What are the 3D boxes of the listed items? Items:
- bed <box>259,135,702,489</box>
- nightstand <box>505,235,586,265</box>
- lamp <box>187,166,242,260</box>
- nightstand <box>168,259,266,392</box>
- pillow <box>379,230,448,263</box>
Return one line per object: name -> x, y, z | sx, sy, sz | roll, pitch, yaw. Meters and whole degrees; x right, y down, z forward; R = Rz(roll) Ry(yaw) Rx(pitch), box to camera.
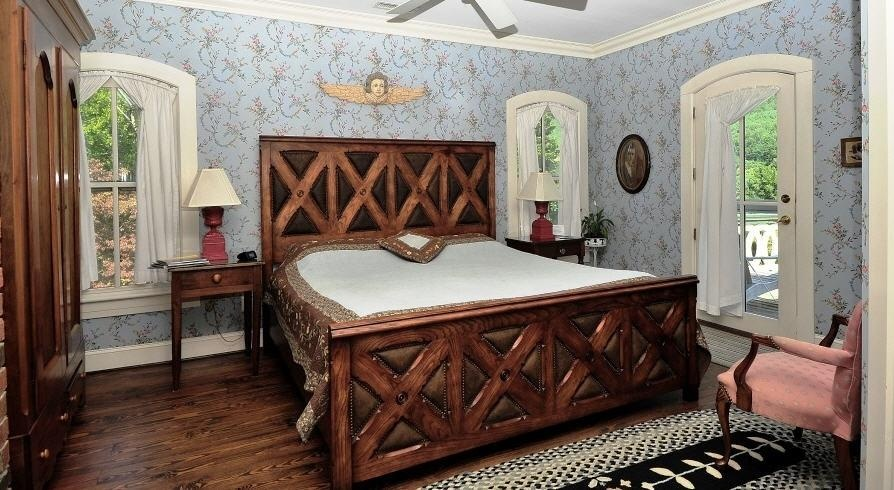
bed -> -0.234, 0.567, 5.554 | 3.668, 2.436, 3.421 | -2, 2, -26
nightstand -> 1.261, -0.065, 6.831 | 0.482, 0.527, 0.607 | -2, 5, -25
lamp -> -2.395, -0.303, 5.569 | 0.474, 0.953, 0.485 | -4, 6, -24
nightstand -> -2.290, 0.747, 5.480 | 0.862, 1.143, 0.823 | -3, 5, -18
pillow -> -0.380, -0.001, 5.952 | 0.658, 0.123, 0.663 | 32, 34, 33
